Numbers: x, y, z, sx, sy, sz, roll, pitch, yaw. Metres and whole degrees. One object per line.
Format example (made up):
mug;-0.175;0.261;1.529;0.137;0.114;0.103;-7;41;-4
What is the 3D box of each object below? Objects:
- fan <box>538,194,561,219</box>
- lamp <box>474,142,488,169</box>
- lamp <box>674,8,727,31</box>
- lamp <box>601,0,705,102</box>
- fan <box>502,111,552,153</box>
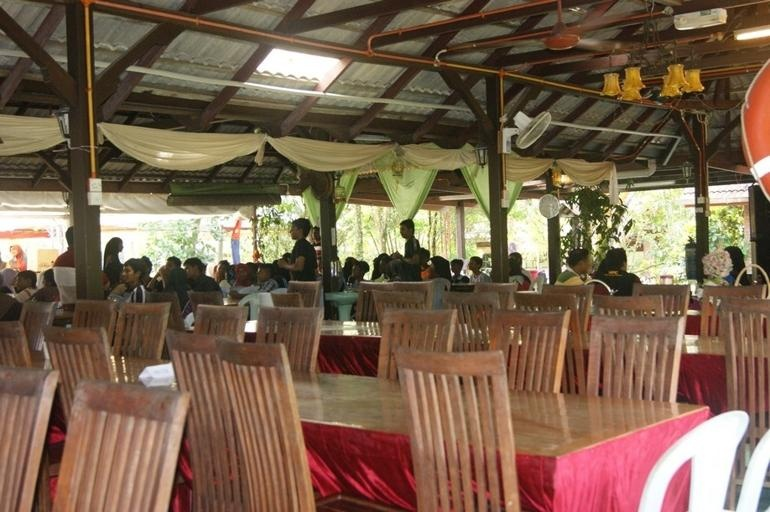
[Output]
fan;2.954;-0.876;11.972;0.392;0.400;0.093;11;12;36
lamp;1.330;-1.409;9.391;0.165;0.281;0.179;0;-4;7
lamp;3.300;-2.489;7.186;0.509;0.185;0.380;-4;7;37
lamp;2.928;-1.993;7.089;0.956;0.266;1.158;-1;-2;38
fan;1.796;-1.611;9.025;0.415;0.503;0.390;20;18;-1
